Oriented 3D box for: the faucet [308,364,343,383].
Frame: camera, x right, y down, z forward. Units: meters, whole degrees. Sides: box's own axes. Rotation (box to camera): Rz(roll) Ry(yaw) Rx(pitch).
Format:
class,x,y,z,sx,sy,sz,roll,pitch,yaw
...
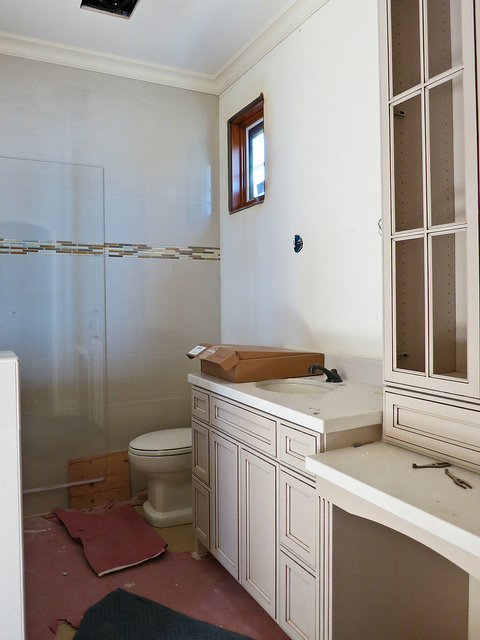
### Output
class,x,y,z,sx,sy,sz,roll,pitch,yaw
faucet,0.311,0.199,1.931,0.110,0.054,0.055,6,-8,-31
